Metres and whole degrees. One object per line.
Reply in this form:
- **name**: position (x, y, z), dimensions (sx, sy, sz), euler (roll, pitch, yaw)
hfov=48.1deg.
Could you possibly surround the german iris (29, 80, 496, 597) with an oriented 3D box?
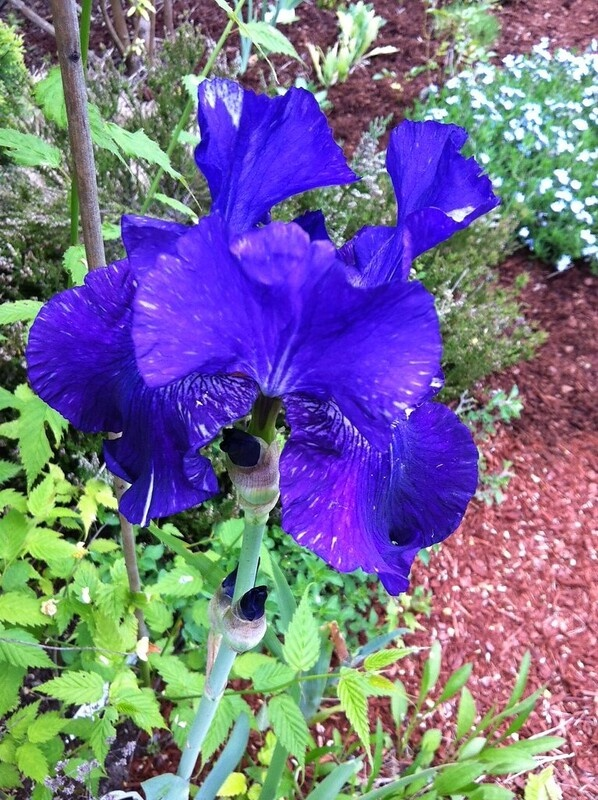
- **german iris**: position (-0.029, -0.061, 0.763), dimensions (0.499, 0.436, 0.522), euler (7, 21, 19)
